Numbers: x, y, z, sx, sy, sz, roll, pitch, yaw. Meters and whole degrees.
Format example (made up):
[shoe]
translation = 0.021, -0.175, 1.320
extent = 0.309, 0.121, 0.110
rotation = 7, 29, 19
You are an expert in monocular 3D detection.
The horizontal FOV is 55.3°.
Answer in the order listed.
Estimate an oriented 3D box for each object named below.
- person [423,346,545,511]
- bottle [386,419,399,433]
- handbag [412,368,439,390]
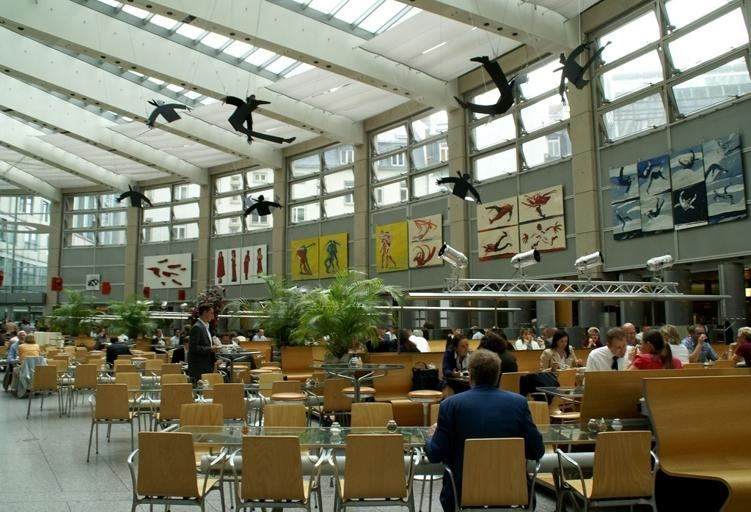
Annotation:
[person]
translation = 1.348, 2.150, 9.125
extent = 1.384, 1.841, 0.434
rotation = -4, -11, 16
[bottle]
translation = 0.227, 2.364, 9.922
extent = 0.187, 0.236, 0.181
rotation = -1, -5, 0
[handbag]
translation = 0.977, 2.460, 14.365
extent = 0.461, 0.468, 0.442
rotation = -2, -4, 1
